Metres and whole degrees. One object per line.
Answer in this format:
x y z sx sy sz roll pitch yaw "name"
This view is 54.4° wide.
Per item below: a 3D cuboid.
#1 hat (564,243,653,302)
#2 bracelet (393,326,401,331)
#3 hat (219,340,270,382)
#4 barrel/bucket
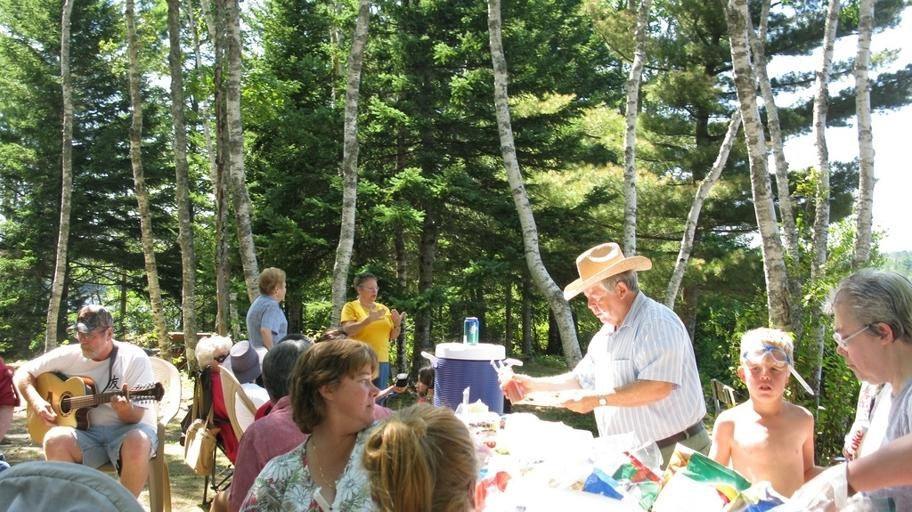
2.794 0.233 17.171 1.354 0.532 1.168 -26 -8 13 "hat"
-1.389 1.742 21.014 0.156 0.140 0.151 1 -4 -9 "bracelet"
-4.403 2.252 19.010 1.278 0.494 1.309 -6 8 27 "hat"
0.243 2.534 17.703 1.924 1.460 1.889 4 -4 0 "barrel/bucket"
